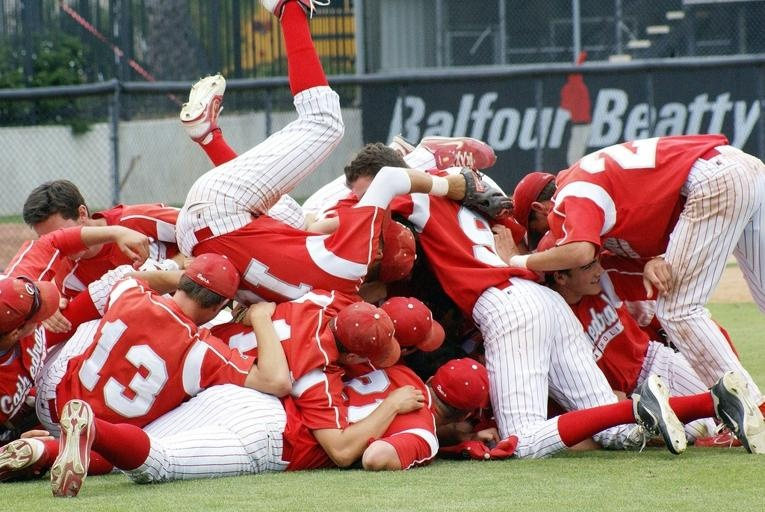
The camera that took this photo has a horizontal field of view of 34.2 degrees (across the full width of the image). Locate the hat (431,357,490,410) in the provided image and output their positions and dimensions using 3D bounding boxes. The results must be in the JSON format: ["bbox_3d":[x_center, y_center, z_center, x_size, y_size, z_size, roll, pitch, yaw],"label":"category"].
[{"bbox_3d":[0.543,0.903,8.629,0.381,0.225,0.291,9,45,-47],"label":"hat"}]

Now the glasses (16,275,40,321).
[{"bbox_3d":[-2.356,0.291,8.343,0.082,0.259,0.181,16,20,-31],"label":"glasses"}]

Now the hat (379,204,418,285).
[{"bbox_3d":[0.154,-0.050,8.923,0.239,0.296,0.422,4,49,18],"label":"hat"}]

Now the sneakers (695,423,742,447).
[{"bbox_3d":[2.359,1.271,8.753,0.231,0.094,0.156,-9,-10,20],"label":"sneakers"}]

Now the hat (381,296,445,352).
[{"bbox_3d":[0.208,0.513,8.768,0.410,0.308,0.244,19,-39,-20],"label":"hat"}]

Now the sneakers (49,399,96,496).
[{"bbox_3d":[-1.979,1.239,7.920,0.251,0.579,0.204,2,10,10],"label":"sneakers"}]

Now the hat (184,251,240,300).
[{"bbox_3d":[-1.185,0.147,8.608,0.227,0.187,0.371,26,2,9],"label":"hat"}]
